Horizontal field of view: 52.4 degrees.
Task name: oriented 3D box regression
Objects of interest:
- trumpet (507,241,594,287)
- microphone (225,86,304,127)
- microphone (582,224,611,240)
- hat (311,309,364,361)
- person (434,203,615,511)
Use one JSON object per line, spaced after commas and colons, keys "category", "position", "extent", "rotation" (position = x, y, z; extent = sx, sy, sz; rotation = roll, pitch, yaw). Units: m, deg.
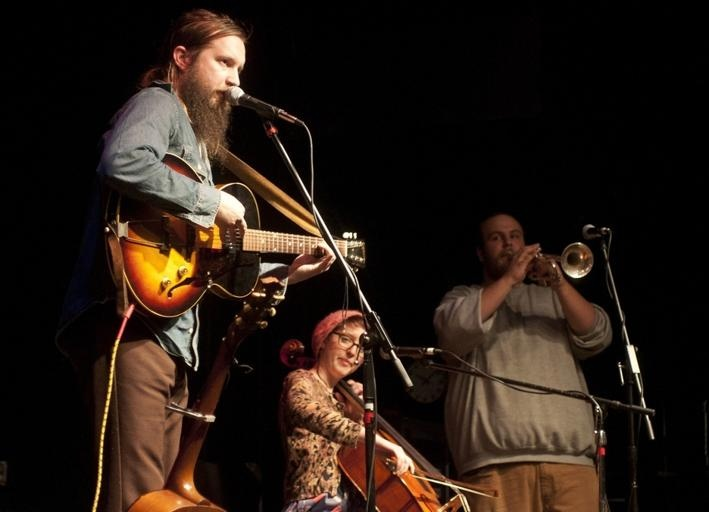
{"category": "trumpet", "position": [1.562, 0.035, 5.487], "extent": [0.262, 0.261, 0.490], "rotation": [46, -19, -14]}
{"category": "microphone", "position": [-0.555, -0.883, 4.285], "extent": [0.449, 0.124, 0.134], "rotation": [25, 23, -6]}
{"category": "microphone", "position": [1.852, -0.182, 5.557], "extent": [0.131, 0.149, 0.310], "rotation": [8, 1, -17]}
{"category": "hat", "position": [-0.126, 0.560, 5.224], "extent": [0.282, 0.405, 0.369], "rotation": [0, 2, 6]}
{"category": "person", "position": [1.278, 0.730, 5.467], "extent": [0.978, 2.265, 1.122], "rotation": [4, 3, 17]}
